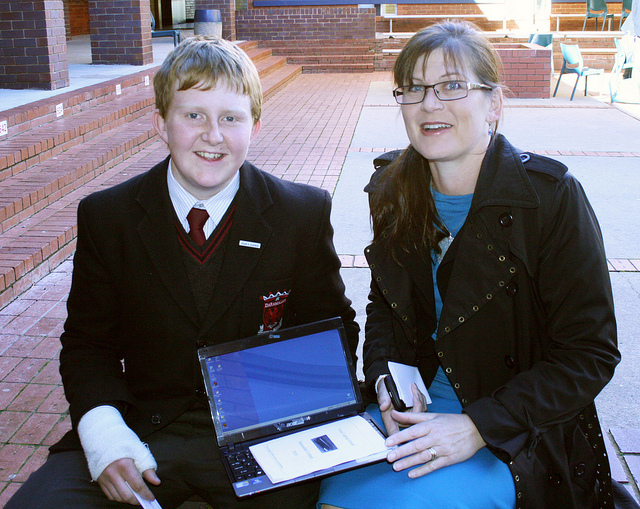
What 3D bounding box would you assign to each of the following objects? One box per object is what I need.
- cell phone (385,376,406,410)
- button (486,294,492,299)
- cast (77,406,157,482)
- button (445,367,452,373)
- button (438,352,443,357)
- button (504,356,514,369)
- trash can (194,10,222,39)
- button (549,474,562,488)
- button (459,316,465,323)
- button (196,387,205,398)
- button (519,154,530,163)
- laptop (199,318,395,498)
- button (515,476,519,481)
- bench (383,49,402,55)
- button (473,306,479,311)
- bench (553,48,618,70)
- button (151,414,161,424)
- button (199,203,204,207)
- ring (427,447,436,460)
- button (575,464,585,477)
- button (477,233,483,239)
[{"bbox_3d":[0.273,0.521,1.923,0.021,0.087,0.092,-39,-40,9],"label":"cell phone"},{"bbox_3d":[0.633,0.156,1.919,0.020,0.018,0.005,-5,-8,12],"label":"button"},{"bbox_3d":[-0.703,0.640,1.735,0.179,0.168,0.266,-15,22,-35],"label":"cast"},{"bbox_3d":[0.491,0.442,1.964,0.022,0.019,0.005,-6,-11,0],"label":"button"},{"bbox_3d":[0.462,0.385,1.970,0.017,0.015,0.005,-2,-22,4],"label":"button"},{"bbox_3d":[0.717,0.408,1.943,0.013,0.041,0.040,-28,30,20],"label":"button"},{"bbox_3d":[-3.677,-7.513,16.520,0.763,0.804,1.022,-3,18,-5],"label":"trash can"},{"bbox_3d":[0.812,0.781,1.767,0.043,0.041,0.010,-33,-22,25],"label":"button"},{"bbox_3d":[0.539,0.247,1.953,0.025,0.022,0.006,0,-3,19],"label":"button"},{"bbox_3d":[-0.444,0.507,1.888,0.033,0.029,0.007,-1,1,2],"label":"button"},{"bbox_3d":[0.788,-0.373,1.983,0.034,0.024,0.046,14,23,39],"label":"button"},{"bbox_3d":[-0.077,0.471,1.671,0.529,0.333,0.427,-8,19,-20],"label":"laptop"},{"bbox_3d":[0.646,0.734,1.679,0.016,0.015,0.007,-11,21,-26],"label":"button"},{"bbox_3d":[2.754,-7.902,19.982,0.605,0.229,0.562,1,18,6],"label":"bench"},{"bbox_3d":[0.588,0.203,1.936,0.019,0.017,0.004,-5,-11,20],"label":"button"},{"bbox_3d":[10.816,-7.982,20.981,2.406,0.850,1.551,4,19,16],"label":"bench"},{"bbox_3d":[-0.617,0.615,1.920,0.027,0.028,0.011,3,-10,-1],"label":"button"},{"bbox_3d":[-0.465,-0.193,1.994,0.015,0.013,0.003,-1,0,-5],"label":"button"},{"bbox_3d":[0.368,0.654,1.680,0.033,0.029,0.025,4,5,12],"label":"ring"},{"bbox_3d":[0.937,0.781,1.851,0.040,0.048,0.015,-10,21,-24],"label":"button"},{"bbox_3d":[0.607,-0.071,1.949,0.024,0.021,0.006,-4,-10,26],"label":"button"}]
